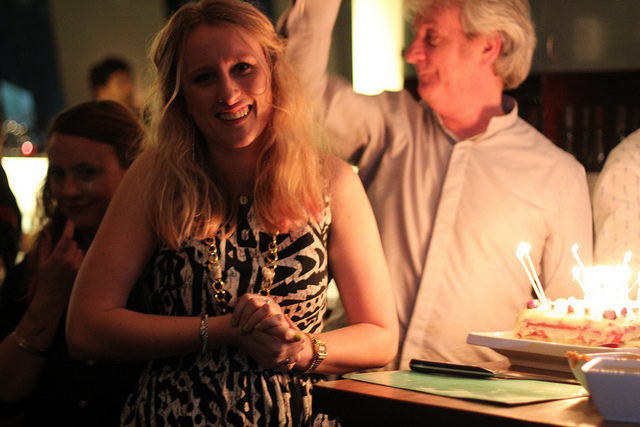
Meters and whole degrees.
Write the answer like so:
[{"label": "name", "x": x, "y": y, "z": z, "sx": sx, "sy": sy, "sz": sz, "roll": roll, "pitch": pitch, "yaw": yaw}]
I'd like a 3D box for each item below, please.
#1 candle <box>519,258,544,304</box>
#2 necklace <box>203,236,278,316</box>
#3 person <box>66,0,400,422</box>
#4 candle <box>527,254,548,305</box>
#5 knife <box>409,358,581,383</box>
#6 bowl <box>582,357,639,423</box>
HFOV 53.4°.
[{"label": "candle", "x": 0.761, "y": 0.255, "z": 2.279, "sx": 0.052, "sy": 0.029, "sz": 0.330, "roll": -9, "pitch": -40, "yaw": 24}, {"label": "necklace", "x": -0.272, "y": 0.220, "z": 2.114, "sx": 0.253, "sy": 0.284, "sz": 0.046, "roll": -4, "pitch": -3, "yaw": -5}, {"label": "person", "x": -0.300, "y": -0.020, "z": 2.180, "sx": 1.059, "sy": 1.418, "sz": 0.494, "roll": -3, "pitch": 7, "yaw": 9}, {"label": "candle", "x": 0.810, "y": 0.243, "z": 2.382, "sx": 0.028, "sy": 0.206, "sz": 0.030, "roll": -34, "pitch": 9, "yaw": -19}, {"label": "knife", "x": 0.532, "y": 0.489, "z": 1.995, "sx": 0.498, "sy": 0.060, "sz": 0.138, "roll": -3, "pitch": 6, "yaw": 5}, {"label": "bowl", "x": 0.770, "y": 0.464, "z": 1.723, "sx": 0.176, "sy": 0.120, "sz": 0.147, "roll": -1, "pitch": -9, "yaw": 7}]
